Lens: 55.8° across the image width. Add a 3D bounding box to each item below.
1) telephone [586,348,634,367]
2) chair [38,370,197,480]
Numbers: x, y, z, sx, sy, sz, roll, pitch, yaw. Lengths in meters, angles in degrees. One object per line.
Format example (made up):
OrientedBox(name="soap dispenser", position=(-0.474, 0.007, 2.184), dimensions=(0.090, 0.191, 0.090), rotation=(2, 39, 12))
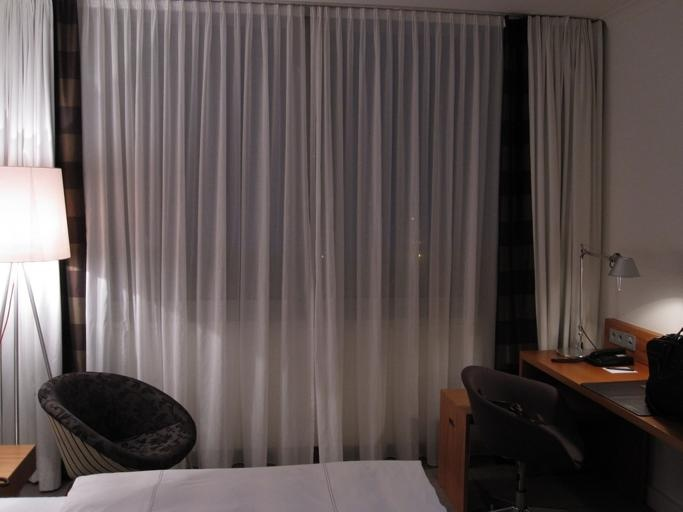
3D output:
OrientedBox(name="telephone", position=(1.949, 0.734, 4.669), dimensions=(0.198, 0.077, 0.161), rotation=(0, 1, -1))
OrientedBox(name="chair", position=(-1.517, 1.200, 4.374), dimensions=(0.857, 0.748, 0.900), rotation=(0, 7, -11))
